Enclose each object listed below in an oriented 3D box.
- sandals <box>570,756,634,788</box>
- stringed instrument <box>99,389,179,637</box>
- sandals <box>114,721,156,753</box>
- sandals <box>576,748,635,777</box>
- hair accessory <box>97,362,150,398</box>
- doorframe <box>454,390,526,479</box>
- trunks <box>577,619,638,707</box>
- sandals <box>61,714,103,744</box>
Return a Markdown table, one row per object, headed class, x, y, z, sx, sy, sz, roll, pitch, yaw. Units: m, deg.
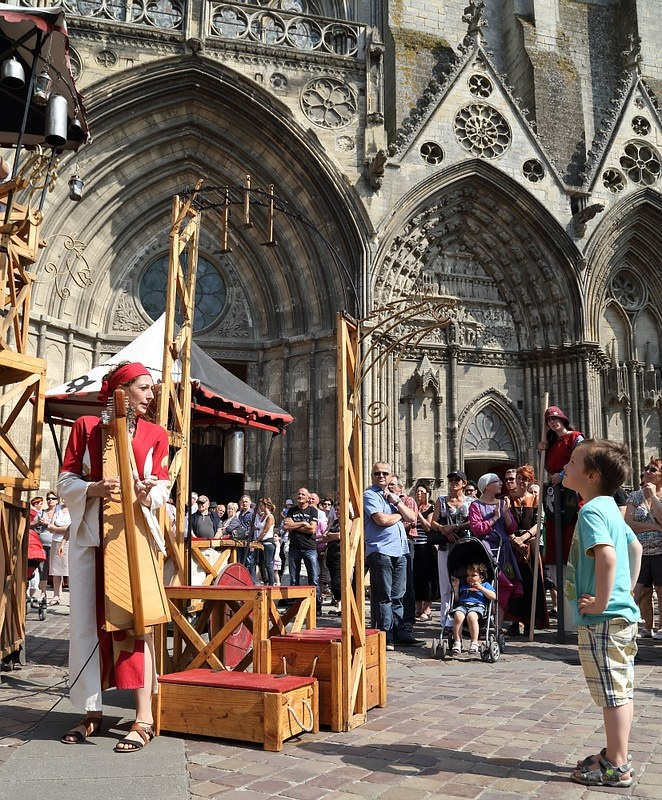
| class | x | y | z | sx | sy | sz | roll | pitch | yaw |
| --- | --- | --- | --- | --- | --- | --- | --- | --- | --- |
| sandals | 1.520 | 2.072 | 6.194 | 0.333 | 0.165 | 0.146 | 0 | -16 | 18 |
| stringed instrument | -1.272 | 0.721 | 6.834 | 0.367 | 1.457 | 0.743 | -1 | -9 | 13 |
| sandals | -1.183 | 2.035 | 6.737 | 0.138 | 0.156 | 0.436 | -1 | -10 | 15 |
| sandals | 1.544 | 2.012 | 6.186 | 0.313 | 0.156 | 0.143 | 0 | -9 | 24 |
| hair accessory | -1.352 | -0.126 | 7.089 | 0.270 | 0.152 | 0.212 | -26 | -4 | 11 |
| doorframe | 3.152 | 0.580 | 21.936 | 1.751 | 1.985 | 0.154 | 3 | -7 | -25 |
| trunks | 1.553 | 1.474 | 6.229 | 0.314 | 0.495 | 0.241 | -1 | -9 | 13 |
| sandals | -1.532 | 2.020 | 6.854 | 0.150 | 0.162 | 0.372 | -2 | -10 | 20 |
